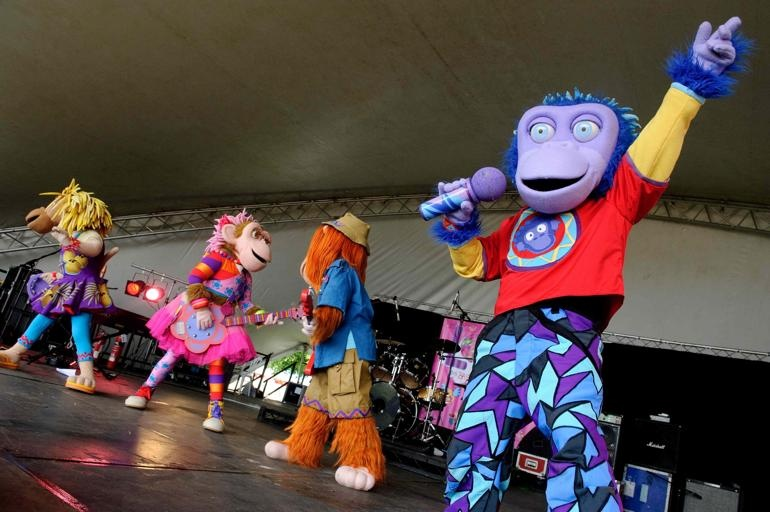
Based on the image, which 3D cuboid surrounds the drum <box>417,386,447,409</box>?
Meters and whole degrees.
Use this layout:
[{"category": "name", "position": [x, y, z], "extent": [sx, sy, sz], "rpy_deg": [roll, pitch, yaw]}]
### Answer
[{"category": "drum", "position": [0.716, 2.157, 7.376], "extent": [0.351, 0.134, 0.358], "rpy_deg": [7, -10, 1]}]

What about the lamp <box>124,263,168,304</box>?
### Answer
[{"category": "lamp", "position": [-4.751, 0.548, 9.385], "extent": [0.682, 0.544, 0.202], "rpy_deg": [19, -15, -9]}]

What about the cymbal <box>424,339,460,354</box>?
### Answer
[{"category": "cymbal", "position": [0.904, 1.413, 7.469], "extent": [0.309, 0.069, 0.317], "rpy_deg": [-12, -36, 34]}]

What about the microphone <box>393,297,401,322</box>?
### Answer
[{"category": "microphone", "position": [0.231, 1.014, 9.124], "extent": [0.149, 0.461, 0.125], "rpy_deg": [-1, 1, 5]}]

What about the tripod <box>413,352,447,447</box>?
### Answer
[{"category": "tripod", "position": [0.721, 2.337, 7.620], "extent": [0.561, 0.905, 1.010], "rpy_deg": [13, -35, 17]}]

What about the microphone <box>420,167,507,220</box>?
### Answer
[{"category": "microphone", "position": [0.433, -0.297, 2.598], "extent": [0.537, 0.216, 0.223], "rpy_deg": [-19, -11, 20]}]

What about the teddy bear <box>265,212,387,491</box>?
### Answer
[{"category": "teddy bear", "position": [-0.236, 0.526, 3.163], "extent": [0.862, 1.746, 0.546], "rpy_deg": [16, -15, -10]}]
